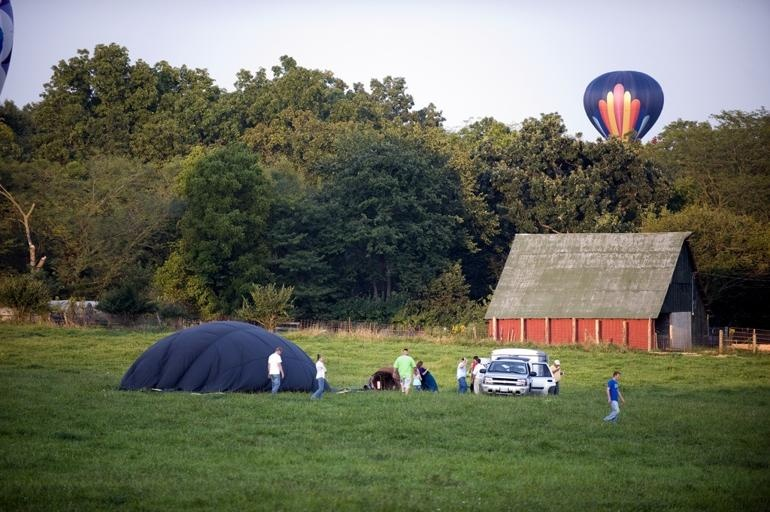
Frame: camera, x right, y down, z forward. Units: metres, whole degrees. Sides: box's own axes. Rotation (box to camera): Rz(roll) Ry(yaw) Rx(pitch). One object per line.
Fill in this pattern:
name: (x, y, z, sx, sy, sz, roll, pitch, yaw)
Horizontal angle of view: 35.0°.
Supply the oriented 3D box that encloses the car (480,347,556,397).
car: (8.883, 7.613, 78.792, 3.104, 1.671, 3.286, -2, -10, 13)
